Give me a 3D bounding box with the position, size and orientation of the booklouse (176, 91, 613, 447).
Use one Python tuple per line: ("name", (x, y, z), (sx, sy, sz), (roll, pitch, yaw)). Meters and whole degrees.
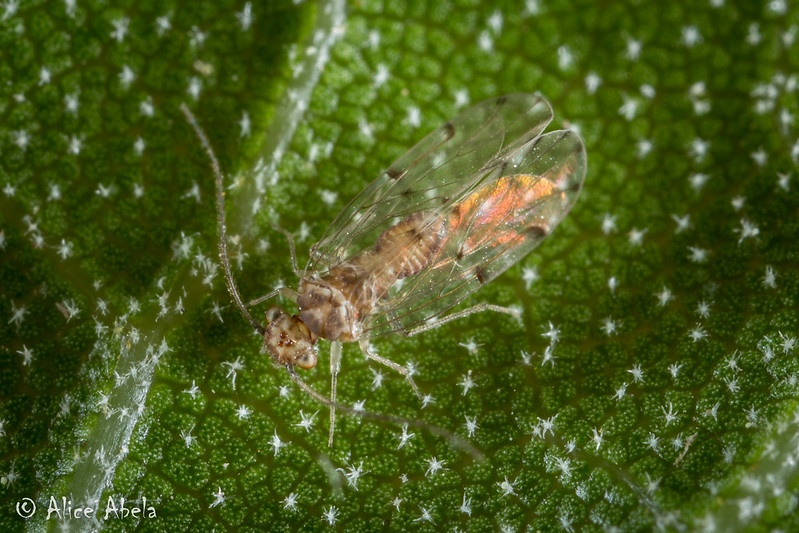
("booklouse", (0.275, -0.281, 8.641), (3.434, 1.032, 1.587), (-30, 74, -12))
